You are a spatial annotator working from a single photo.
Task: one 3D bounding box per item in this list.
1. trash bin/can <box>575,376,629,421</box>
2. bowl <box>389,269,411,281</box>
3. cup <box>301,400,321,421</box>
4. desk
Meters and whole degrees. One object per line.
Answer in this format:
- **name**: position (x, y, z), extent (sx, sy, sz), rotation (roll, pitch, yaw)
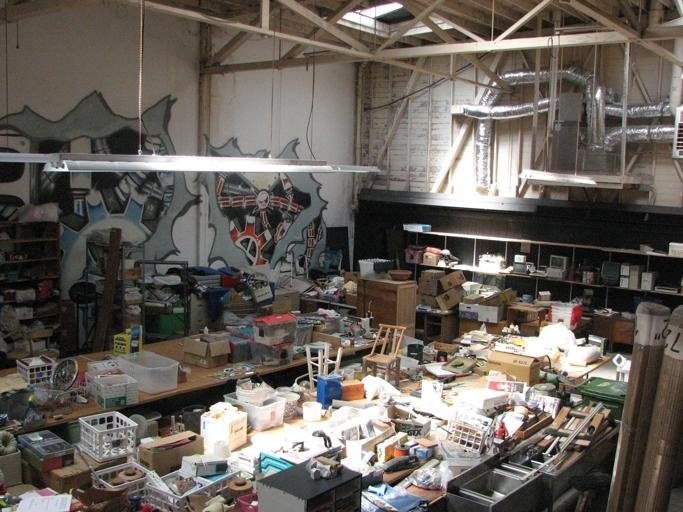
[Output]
- **trash bin/can**: position (2.960, 1.636, 6.193), extent (0.506, 0.300, 0.428), rotation (3, 5, 23)
- **bowl**: position (1.031, 0.330, 9.285), extent (0.398, 0.153, 0.284), rotation (-2, 6, -40)
- **cup**: position (-0.311, 1.604, 5.628), extent (0.195, 0.114, 0.179), rotation (0, 12, 0)
- **desk**: position (-1.190, 1.420, 6.623), extent (5.395, 0.603, 2.065), rotation (0, 5, -17)
